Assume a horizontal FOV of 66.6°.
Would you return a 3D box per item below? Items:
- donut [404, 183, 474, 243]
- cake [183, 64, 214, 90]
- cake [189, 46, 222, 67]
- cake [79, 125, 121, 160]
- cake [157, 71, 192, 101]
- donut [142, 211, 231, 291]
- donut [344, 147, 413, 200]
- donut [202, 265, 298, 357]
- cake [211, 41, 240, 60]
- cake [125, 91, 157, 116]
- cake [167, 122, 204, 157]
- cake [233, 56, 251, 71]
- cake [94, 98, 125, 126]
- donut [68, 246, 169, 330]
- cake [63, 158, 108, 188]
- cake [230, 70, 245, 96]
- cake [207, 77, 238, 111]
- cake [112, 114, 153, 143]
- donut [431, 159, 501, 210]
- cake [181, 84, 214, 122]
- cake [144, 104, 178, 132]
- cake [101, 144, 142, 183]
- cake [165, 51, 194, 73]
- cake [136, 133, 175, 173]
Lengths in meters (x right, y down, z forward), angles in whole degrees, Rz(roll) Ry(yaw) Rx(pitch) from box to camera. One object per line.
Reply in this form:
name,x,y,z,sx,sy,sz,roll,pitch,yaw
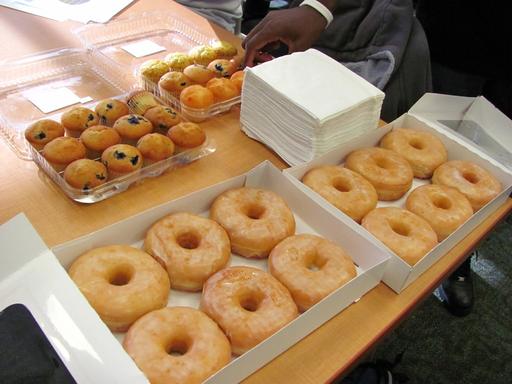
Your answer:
donut,0.579,0.051,1.227,0.169,0.067,0.179,-5,43,-6
cake,-0.218,-0.447,1.486,0.088,0.048,0.092,15,46,3
cake,-0.225,-0.574,1.630,0.096,0.053,0.100,19,42,13
cake,-0.475,-0.159,1.190,0.096,0.084,0.101,9,39,-14
cake,-0.300,-0.399,1.423,0.096,0.076,0.105,-24,58,-28
donut,-0.170,0.143,0.992,0.185,0.075,0.201,-1,47,-20
donut,0.418,-0.078,1.314,0.176,0.069,0.185,-9,42,-18
donut,-0.019,0.263,0.905,0.181,0.073,0.193,-6,42,-22
cake,-0.134,-0.620,1.677,0.091,0.049,0.091,-19,49,-34
cake,-0.396,-0.308,1.340,0.096,0.071,0.088,-22,32,-4
cake,-0.235,-0.168,1.303,0.097,0.071,0.098,18,43,9
cake,-0.053,-0.533,1.616,0.059,0.037,0.065,-2,62,-11
cake,-0.480,-0.266,1.283,0.081,0.066,0.093,6,50,-21
donut,-0.311,0.207,0.914,0.167,0.065,0.205,-38,66,-24
cake,-0.482,-0.053,1.098,0.091,0.048,0.089,-25,66,-33
cake,-0.074,-0.429,1.531,0.078,0.083,0.098,-2,44,-6
cake,-0.136,-0.384,1.503,0.096,0.079,0.104,-28,58,-31
cake,-0.390,-0.204,1.236,0.093,0.054,0.096,-8,50,-21
donut,0.722,-0.038,1.346,0.172,0.067,0.180,-7,41,-12
cake,-0.224,-0.323,1.454,0.114,0.104,0.114,-19,51,-30
cake,-0.305,-0.247,1.293,0.090,0.056,0.090,-24,55,-31
cake,-0.393,-0.097,1.144,0.095,0.080,0.107,3,38,-20
cake,-0.308,-0.521,1.546,0.088,0.048,0.091,1,39,-2
cake,-0.307,-0.137,1.217,0.096,0.084,0.107,24,38,3
